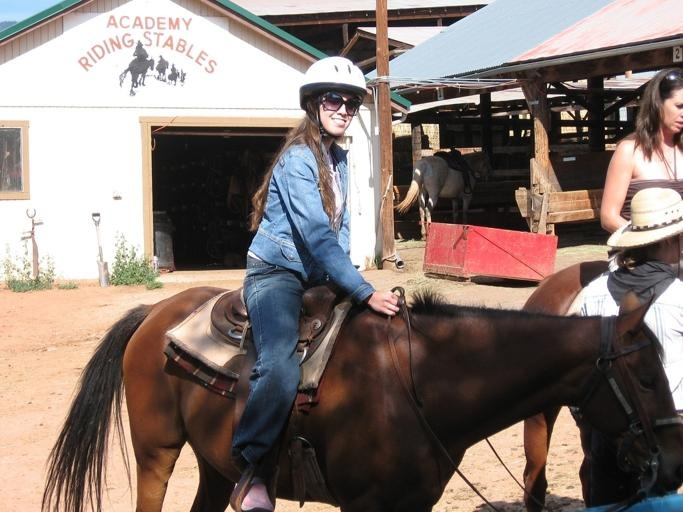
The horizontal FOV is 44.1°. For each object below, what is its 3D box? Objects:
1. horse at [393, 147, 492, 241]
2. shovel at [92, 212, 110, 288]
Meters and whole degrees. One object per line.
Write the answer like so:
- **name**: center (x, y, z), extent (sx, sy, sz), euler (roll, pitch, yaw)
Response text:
- **horse**: center (2.557, -1.545, 20.365), extent (2.954, 2.146, 0.826), euler (-6, 11, -39)
- **shovel**: center (-4.427, -0.140, 15.438), extent (0.249, 1.334, 0.387), euler (-4, 4, -17)
